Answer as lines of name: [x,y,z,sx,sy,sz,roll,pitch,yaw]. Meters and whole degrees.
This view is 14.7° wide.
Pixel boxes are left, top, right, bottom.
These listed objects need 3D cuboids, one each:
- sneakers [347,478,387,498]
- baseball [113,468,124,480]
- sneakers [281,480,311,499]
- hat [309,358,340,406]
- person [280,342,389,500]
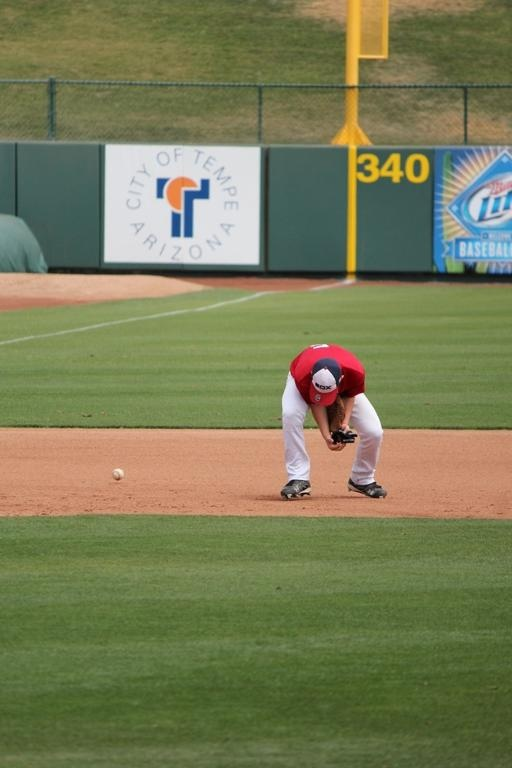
sneakers: [0.841,0.762,14.617,0.299,0.164,0.119,4,13,28]
baseball: [-1.046,0.666,15.117,0.064,0.084,0.073,4,-4,-3]
sneakers: [0.310,0.752,14.417,0.091,0.150,0.276,-2,-2,33]
hat: [0.496,-0.040,13.773,0.158,0.317,0.152,5,-9,6]
person: [0.564,0.312,14.144,0.711,1.187,0.894,-4,10,-16]
